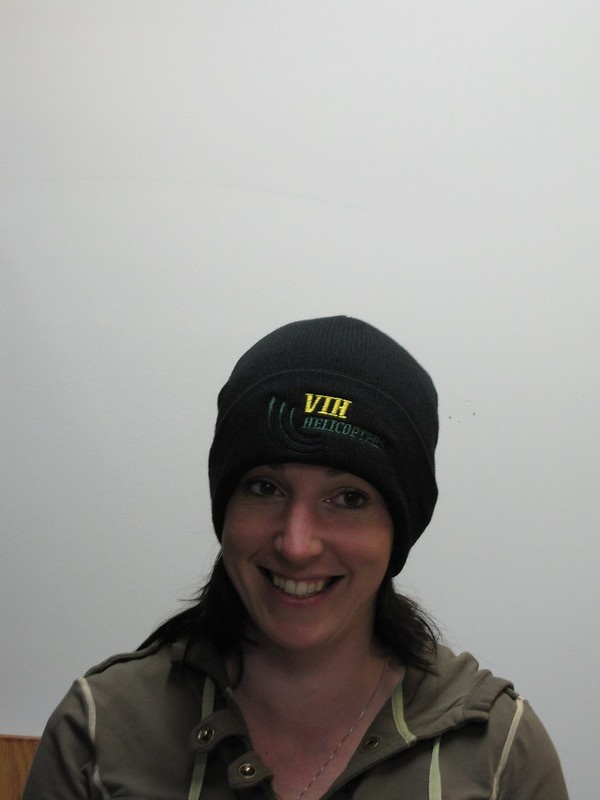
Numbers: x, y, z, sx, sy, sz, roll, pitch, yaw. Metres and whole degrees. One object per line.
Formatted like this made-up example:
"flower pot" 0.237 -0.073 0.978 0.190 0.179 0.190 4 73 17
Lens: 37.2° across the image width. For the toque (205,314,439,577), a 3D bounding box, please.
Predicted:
"toque" 0.120 0.081 1.630 0.375 0.343 0.455 -7 -43 24
